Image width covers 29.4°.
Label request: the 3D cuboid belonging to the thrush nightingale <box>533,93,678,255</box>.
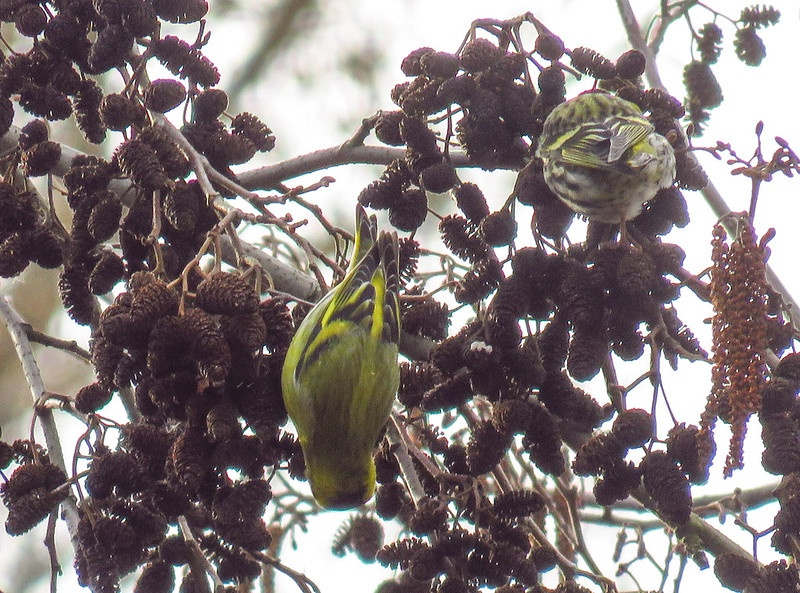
[{"bbox_3d":[0.930,-0.603,6.516,0.363,0.520,0.869,-14,-48,15],"label":"thrush nightingale"}]

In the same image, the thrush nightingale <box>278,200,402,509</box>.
[{"bbox_3d":[-0.228,0.313,6.291,0.391,1.335,0.522,4,-31,-7],"label":"thrush nightingale"}]
